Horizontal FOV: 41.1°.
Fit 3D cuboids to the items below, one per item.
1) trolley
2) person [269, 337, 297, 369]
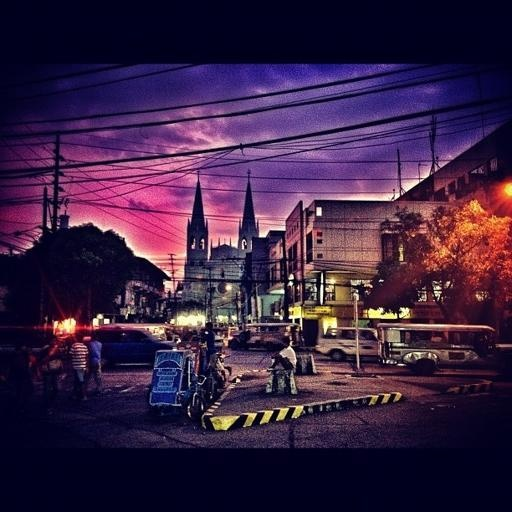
[{"bbox_3d":[-1.955,3.239,17.844,1.507,2.135,2.314,-3,-6,31],"label":"trolley"},{"bbox_3d":[0.870,2.975,20.902,0.666,0.959,1.679,2,-7,8],"label":"person"}]
